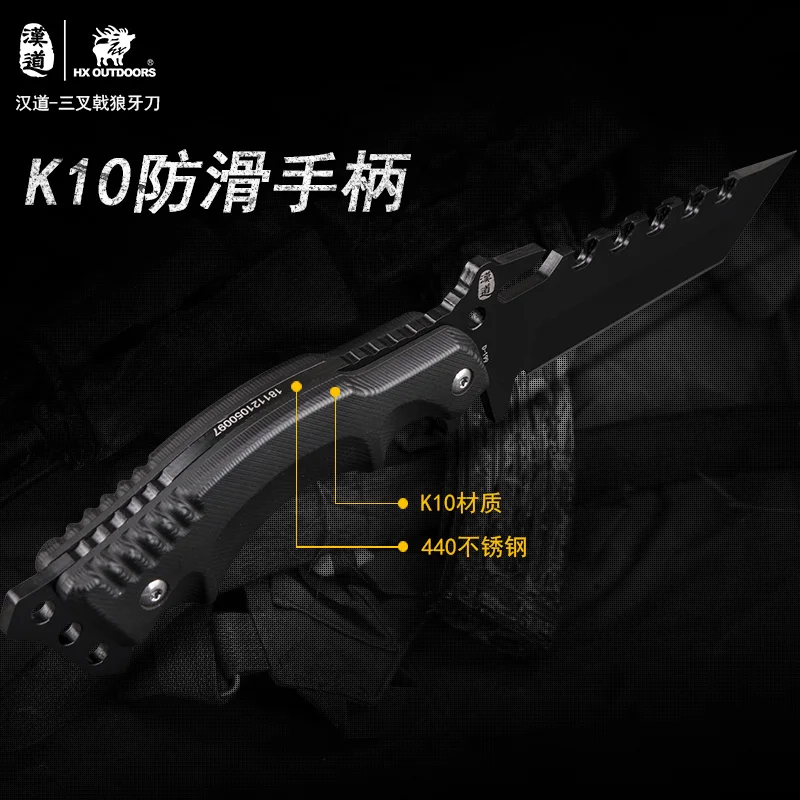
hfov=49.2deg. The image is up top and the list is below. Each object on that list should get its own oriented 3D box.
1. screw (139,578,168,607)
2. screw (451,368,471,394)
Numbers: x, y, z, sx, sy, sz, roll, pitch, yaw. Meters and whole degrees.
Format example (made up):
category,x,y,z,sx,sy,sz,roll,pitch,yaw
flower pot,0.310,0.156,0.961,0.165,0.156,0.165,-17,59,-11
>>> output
category,x,y,z,sx,sy,sz,roll,pitch,yaw
screw,-0.620,0.471,2.205,0.015,0.071,0.067,24,61,40
screw,0.178,-0.056,2.552,0.015,0.063,0.069,19,84,35
